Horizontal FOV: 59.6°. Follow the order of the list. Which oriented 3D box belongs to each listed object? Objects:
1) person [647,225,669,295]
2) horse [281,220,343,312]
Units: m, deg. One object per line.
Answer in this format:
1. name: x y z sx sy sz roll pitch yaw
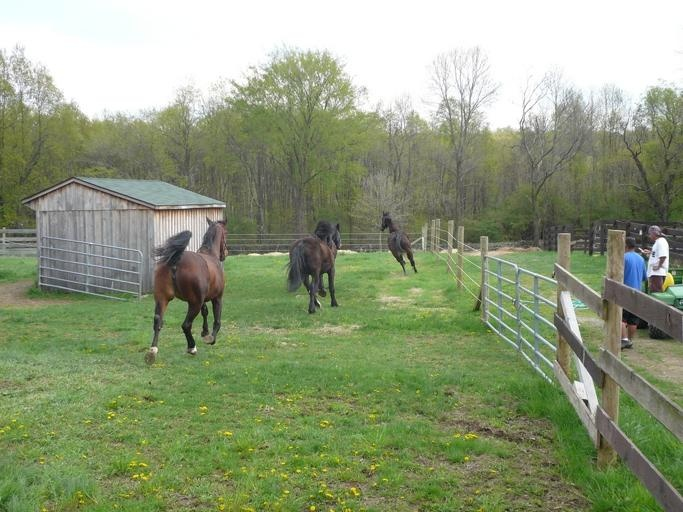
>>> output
1. person: 6.688 0.058 12.635 0.386 1.370 1.706 1 3 28
2. horse: -0.665 0.222 15.140 1.101 2.186 2.555 0 3 6
